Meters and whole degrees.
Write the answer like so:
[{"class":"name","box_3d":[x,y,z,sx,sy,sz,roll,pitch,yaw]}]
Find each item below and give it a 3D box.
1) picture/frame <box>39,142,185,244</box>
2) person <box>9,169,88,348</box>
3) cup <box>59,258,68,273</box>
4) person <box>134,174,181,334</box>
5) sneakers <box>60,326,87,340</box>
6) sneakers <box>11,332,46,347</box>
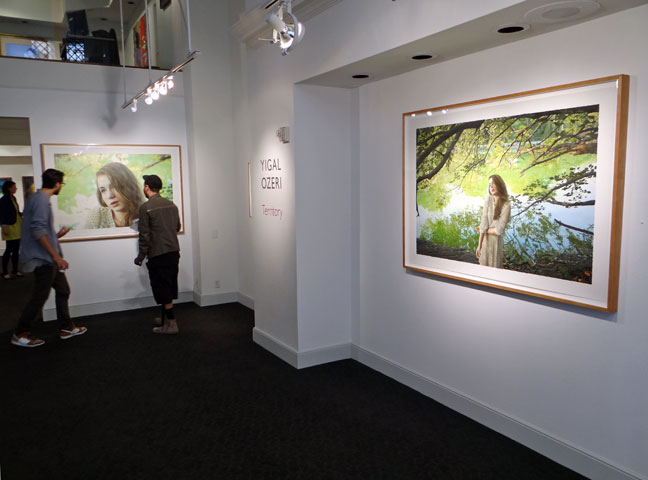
[{"class":"picture/frame","box_3d":[-3.392,-0.728,6.768,1.478,1.247,0.051,-2,3,-25]},{"class":"person","box_3d":[-3.884,0.219,6.056,0.822,2.368,0.993,-7,12,-31]},{"class":"cup","box_3d":[-3.499,0.332,5.861,0.096,0.171,0.212,-8,13,-34]},{"class":"person","box_3d":[-2.359,0.221,6.231,0.570,2.263,0.496,-3,10,-14]},{"class":"sneakers","box_3d":[-3.585,1.305,6.258,0.123,0.165,0.348,9,11,44]},{"class":"sneakers","box_3d":[-4.077,1.369,5.971,0.457,0.221,0.189,4,9,-15]}]
